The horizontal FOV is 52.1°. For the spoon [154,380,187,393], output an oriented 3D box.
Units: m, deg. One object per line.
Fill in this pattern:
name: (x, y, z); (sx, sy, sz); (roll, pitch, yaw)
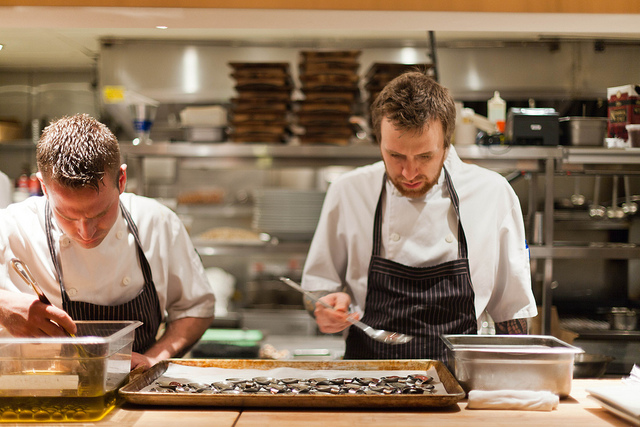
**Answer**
spoon: (-0.505, 0.591, 2.242); (0.159, 0.014, 0.077); (1, 5, 42)

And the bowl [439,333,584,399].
bowl: (0.650, 0.528, 2.326); (0.433, 0.213, 0.344); (-2, 4, 1)

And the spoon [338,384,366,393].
spoon: (0.111, 0.595, 2.229); (0.085, 0.013, 0.055); (-2, 3, -3)

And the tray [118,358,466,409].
tray: (-0.087, 0.590, 2.311); (1.136, 0.135, 0.336); (-2, 4, 2)

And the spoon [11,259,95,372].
spoon: (-0.921, 0.357, 2.280); (0.054, 0.434, 0.044); (-40, 5, 2)

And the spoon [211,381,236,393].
spoon: (-0.328, 0.592, 2.248); (0.080, 0.013, 0.077); (-3, 4, -21)
